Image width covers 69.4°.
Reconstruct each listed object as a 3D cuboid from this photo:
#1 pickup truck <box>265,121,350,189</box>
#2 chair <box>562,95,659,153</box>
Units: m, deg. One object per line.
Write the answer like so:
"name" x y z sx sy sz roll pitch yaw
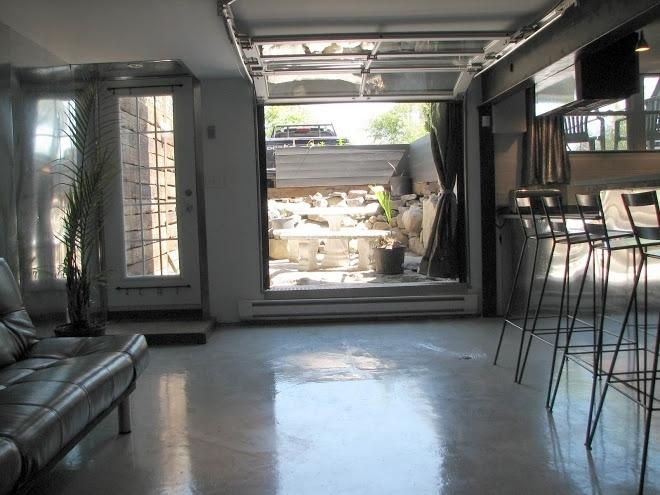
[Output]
"pickup truck" -0.732 -2.229 11.409 1.388 1.234 2.150 0 11 1
"chair" 3.449 -1.438 5.740 0.382 0.592 1.121 -6 10 -27
